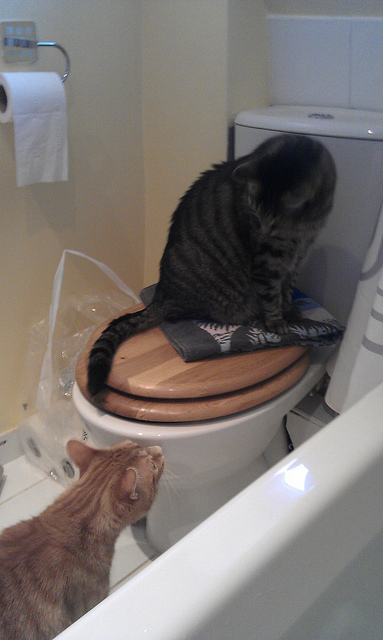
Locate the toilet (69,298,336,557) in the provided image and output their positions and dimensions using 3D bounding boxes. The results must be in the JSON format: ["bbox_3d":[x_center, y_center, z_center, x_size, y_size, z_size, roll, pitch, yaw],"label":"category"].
[{"bbox_3d":[0.010,0.160,0.791,0.359,0.339,0.220,-27,49,-22],"label":"toilet"}]

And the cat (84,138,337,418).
[{"bbox_3d":[0.064,-0.148,1.102,0.632,0.498,0.314,-20,43,2],"label":"cat"}]

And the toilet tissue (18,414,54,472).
[{"bbox_3d":[-0.365,0.289,1.214,0.067,0.083,0.121,-31,35,-33],"label":"toilet tissue"}]
